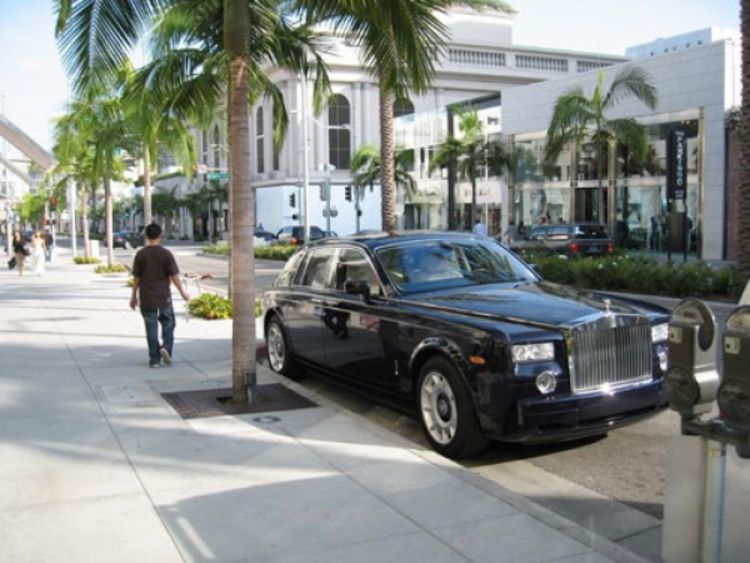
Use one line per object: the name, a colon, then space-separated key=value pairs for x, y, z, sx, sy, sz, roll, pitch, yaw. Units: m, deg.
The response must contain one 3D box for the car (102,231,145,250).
car: x=-23.969 y=-4.092 z=61.315 sx=1.768 sy=1.485 sz=4.175 roll=0 pitch=8 yaw=0
